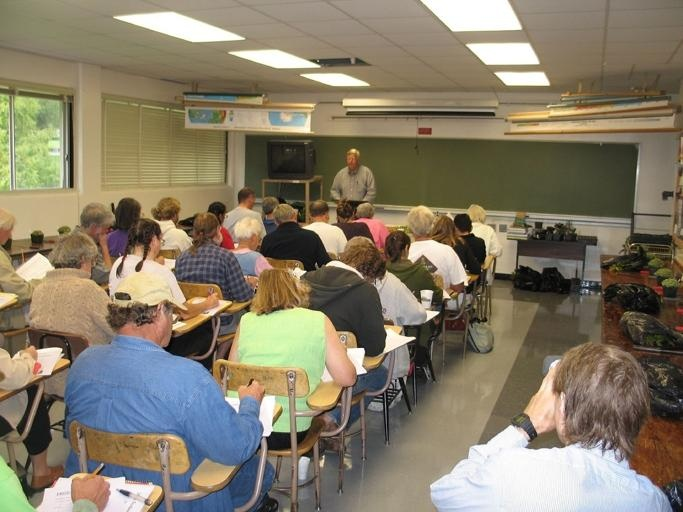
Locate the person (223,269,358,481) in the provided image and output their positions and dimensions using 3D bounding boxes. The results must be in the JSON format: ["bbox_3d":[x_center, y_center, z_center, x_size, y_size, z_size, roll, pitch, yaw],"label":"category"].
[{"bbox_3d":[-0.289,0.739,3.096,0.797,1.360,0.684,0,12,-3],"label":"person"}]

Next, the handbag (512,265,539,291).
[{"bbox_3d":[3.116,0.390,8.923,0.389,0.223,0.361,12,21,38],"label":"handbag"}]

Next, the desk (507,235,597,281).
[{"bbox_3d":[3.606,0.034,8.892,1.291,0.758,0.654,4,11,13],"label":"desk"}]

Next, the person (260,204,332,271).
[{"bbox_3d":[-0.530,-0.209,5.686,0.732,0.890,0.543,0,40,2],"label":"person"}]

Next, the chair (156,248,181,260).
[{"bbox_3d":[-1.816,-0.023,5.612,0.204,0.162,0.212,2,1,-11],"label":"chair"}]

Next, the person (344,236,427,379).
[{"bbox_3d":[0.245,0.362,4.060,0.602,1.108,0.765,-3,34,-15],"label":"person"}]

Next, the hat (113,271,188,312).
[{"bbox_3d":[-0.858,0.143,2.330,0.150,0.123,0.208,7,8,41],"label":"hat"}]

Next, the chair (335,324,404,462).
[{"bbox_3d":[0.187,0.942,3.624,0.471,0.680,0.905,3,7,22],"label":"chair"}]

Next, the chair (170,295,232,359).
[{"bbox_3d":[-1.065,0.524,3.987,0.485,0.525,0.366,7,15,5],"label":"chair"}]

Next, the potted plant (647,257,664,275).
[{"bbox_3d":[3.311,0.097,5.590,0.174,0.194,0.179,0,4,43],"label":"potted plant"}]

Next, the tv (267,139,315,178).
[{"bbox_3d":[-0.872,-1.719,9.690,1.019,0.861,0.595,2,6,19],"label":"tv"}]

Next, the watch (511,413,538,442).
[{"bbox_3d":[0.643,0.600,1.858,0.060,0.097,0.092,-40,40,-11],"label":"watch"}]

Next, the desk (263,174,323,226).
[{"bbox_3d":[-0.835,-1.021,10.036,0.985,1.045,0.988,2,5,29],"label":"desk"}]

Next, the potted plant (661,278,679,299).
[{"bbox_3d":[2.950,0.289,4.751,0.145,0.171,0.157,0,-2,4],"label":"potted plant"}]

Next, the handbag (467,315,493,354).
[{"bbox_3d":[1.537,0.953,6.072,0.192,0.369,0.347,7,-12,-7],"label":"handbag"}]
